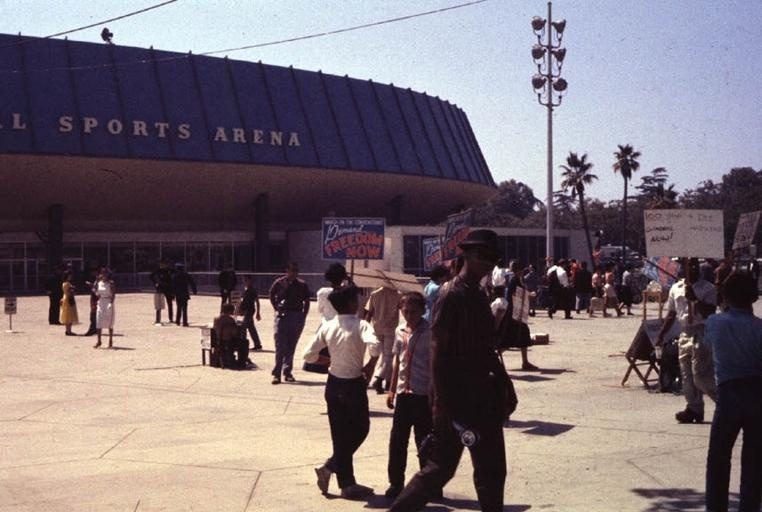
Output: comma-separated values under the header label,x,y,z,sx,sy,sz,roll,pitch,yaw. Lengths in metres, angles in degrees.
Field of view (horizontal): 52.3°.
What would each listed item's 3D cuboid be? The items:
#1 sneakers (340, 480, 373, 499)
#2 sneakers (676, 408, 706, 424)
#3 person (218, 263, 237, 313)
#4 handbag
label,x,y,z,sx,sy,sz,roll,pitch,yaw
sneakers,-0.303,3.098,10.252,0.461,0.216,0.173,-3,1,-6
sneakers,4.911,2.525,12.310,0.509,0.250,0.182,2,-1,18
person,-5.848,1.224,29.664,0.659,1.910,0.590,-5,31,-21
handbag,1.223,1.588,8.794,0.803,0.520,0.164,2,-1,-24
